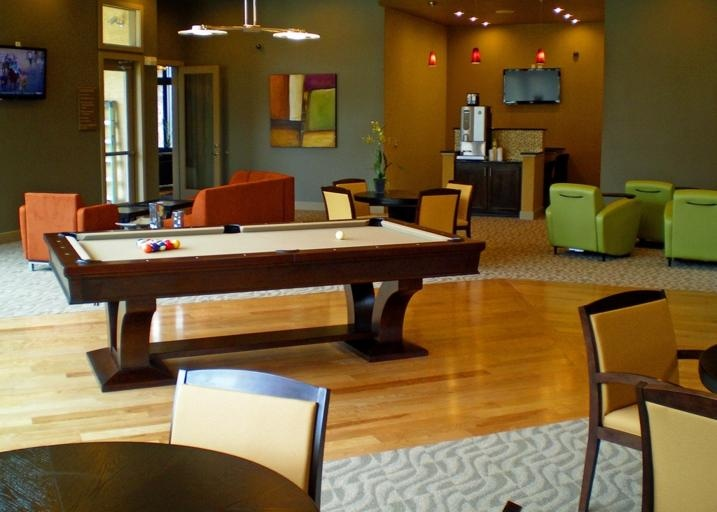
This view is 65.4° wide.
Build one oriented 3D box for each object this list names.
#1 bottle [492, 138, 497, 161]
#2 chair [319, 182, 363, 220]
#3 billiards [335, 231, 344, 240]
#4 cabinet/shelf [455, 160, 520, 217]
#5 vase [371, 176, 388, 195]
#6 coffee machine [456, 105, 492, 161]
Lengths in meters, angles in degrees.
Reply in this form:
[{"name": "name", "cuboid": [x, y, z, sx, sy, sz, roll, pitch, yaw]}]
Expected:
[{"name": "bottle", "cuboid": [2.829, -2.199, 11.612, 0.117, 0.389, 0.549, 3, 14, 13]}, {"name": "chair", "cuboid": [-0.244, -0.632, 7.014, 0.271, 0.451, 0.725, -6, 15, -22]}, {"name": "billiards", "cuboid": [-0.146, -0.160, 4.355, 0.066, 0.062, 0.065, -2, 7, 4]}, {"name": "cabinet/shelf", "cuboid": [2.532, -1.318, 10.704, 1.394, 1.186, 0.547, 2, 7, 20]}, {"name": "vase", "cuboid": [0.310, -0.987, 7.939, 0.230, 0.213, 0.220, -2, 5, -10]}, {"name": "coffee machine", "cuboid": [2.417, -2.547, 11.517, 0.672, 1.089, 0.415, 1, 14, 4]}]
